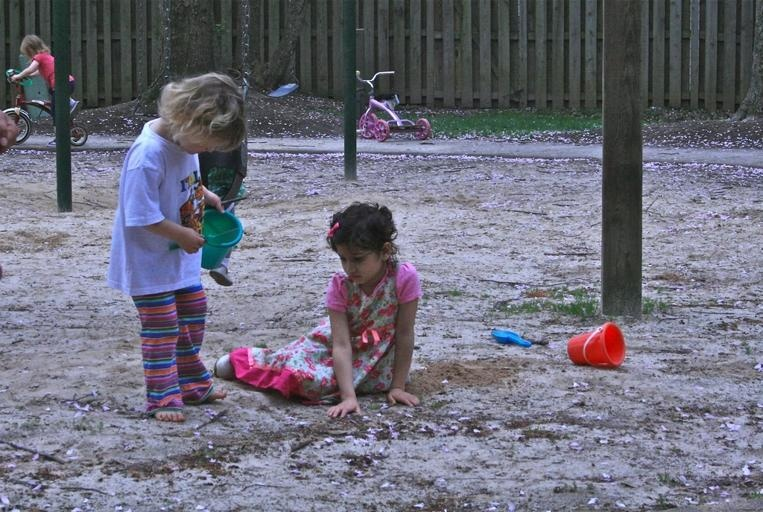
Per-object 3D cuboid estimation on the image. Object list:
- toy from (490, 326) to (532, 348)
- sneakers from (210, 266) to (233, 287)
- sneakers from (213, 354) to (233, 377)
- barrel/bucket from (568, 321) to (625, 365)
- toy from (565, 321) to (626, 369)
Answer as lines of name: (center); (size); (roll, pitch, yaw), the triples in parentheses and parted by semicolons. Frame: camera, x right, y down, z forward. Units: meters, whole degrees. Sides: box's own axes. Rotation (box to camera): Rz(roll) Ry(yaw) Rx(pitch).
toy: (1.235, 0.771, 14.439); (0.338, 0.091, 0.165); (28, 28, 32)
sneakers: (-1.637, 0.198, 15.228); (0.133, 0.303, 0.137); (-5, 50, 11)
sneakers: (-1.473, 0.992, 13.914); (0.148, 0.215, 0.206); (8, 16, 22)
barrel/bucket: (2.010, 0.853, 14.051); (0.440, 0.448, 0.426); (-5, -3, 0)
toy: (2.022, 0.853, 14.047); (0.452, 0.471, 0.441); (-5, 7, 15)
